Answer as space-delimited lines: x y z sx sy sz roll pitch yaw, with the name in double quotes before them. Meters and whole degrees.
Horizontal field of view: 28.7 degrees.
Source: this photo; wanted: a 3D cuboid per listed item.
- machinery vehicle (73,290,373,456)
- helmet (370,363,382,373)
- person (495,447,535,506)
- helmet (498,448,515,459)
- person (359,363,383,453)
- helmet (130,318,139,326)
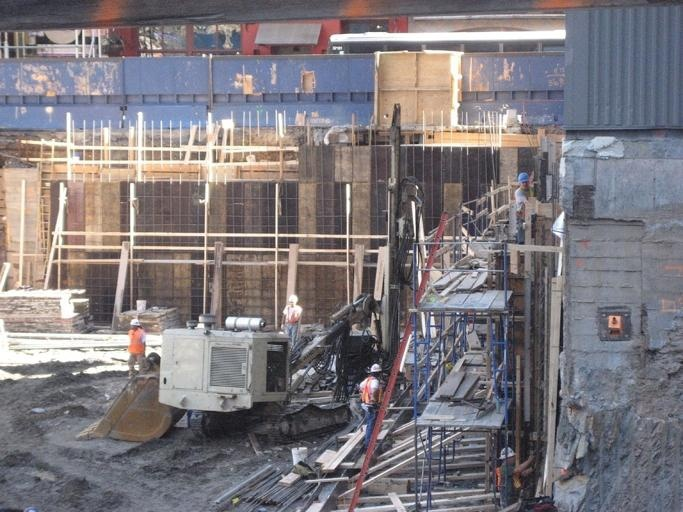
"machinery vehicle" -2.389 2.582 30.253 6.387 3.558 2.492 1 -4 14
"helmet" 0.716 2.438 28.780 0.162 0.174 0.256 -1 -6 8
"person" 3.317 4.352 26.277 0.614 1.140 1.285 -2 -4 25
"helmet" 3.270 3.961 26.582 0.341 0.143 0.258 -27 9 -1
"person" 0.645 3.230 28.528 0.469 1.787 1.472 0 -3 2
"helmet" -5.037 1.649 32.681 0.215 0.163 0.309 2 -2 -2
